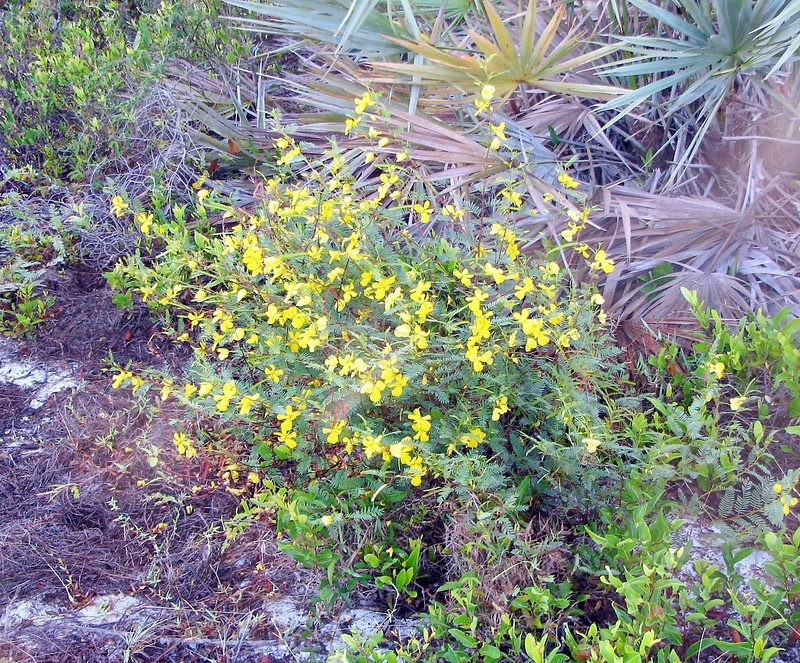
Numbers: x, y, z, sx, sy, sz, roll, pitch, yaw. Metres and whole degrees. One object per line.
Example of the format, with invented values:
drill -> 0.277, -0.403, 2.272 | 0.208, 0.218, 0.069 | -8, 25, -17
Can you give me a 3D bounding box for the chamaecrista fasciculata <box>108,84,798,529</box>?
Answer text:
chamaecrista fasciculata -> 0.238, 0.051, 3.162 | 2.644, 1.080, 1.792 | -4, 65, 2
